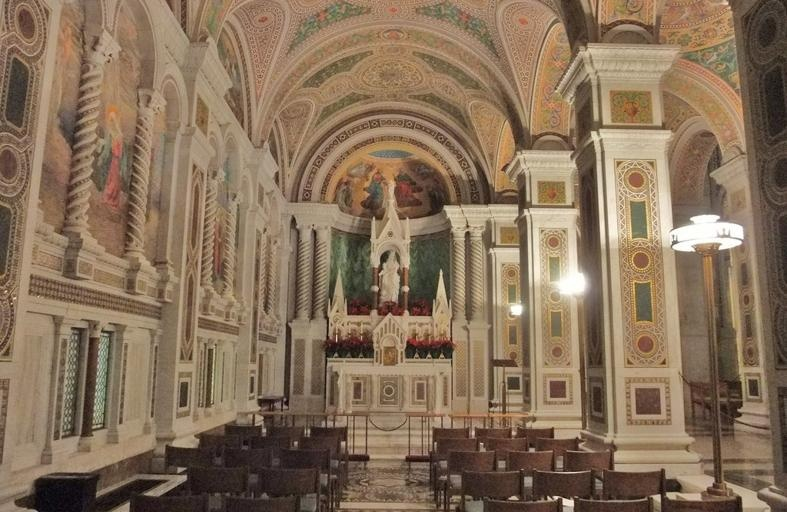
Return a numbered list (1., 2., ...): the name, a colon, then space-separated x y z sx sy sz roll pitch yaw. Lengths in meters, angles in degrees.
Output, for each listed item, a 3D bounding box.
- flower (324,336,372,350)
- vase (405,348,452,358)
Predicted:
1. flower: -1.409 2.898 21.481 0.896 0.346 0.692 -9 -14 28
2. vase: 1.155 3.132 21.496 0.830 0.239 0.677 -12 -17 37
